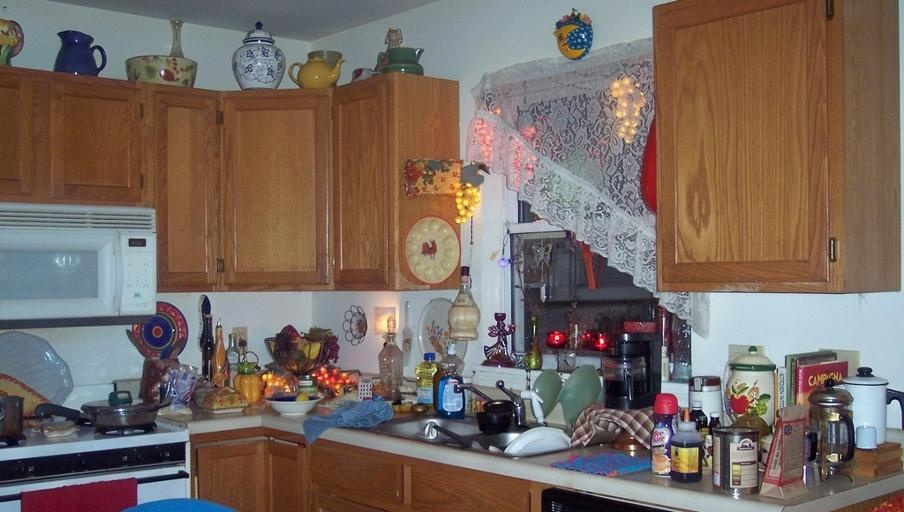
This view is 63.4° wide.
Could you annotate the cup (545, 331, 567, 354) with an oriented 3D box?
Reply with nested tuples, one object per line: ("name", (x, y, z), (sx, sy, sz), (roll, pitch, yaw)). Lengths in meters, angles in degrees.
("cup", (0.606, 0.513, 4.311), (0.119, 0.087, 0.116), (1, -5, 0))

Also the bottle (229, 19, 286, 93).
("bottle", (-1.300, -1.327, 4.921), (0.362, 0.429, 0.370), (9, 11, 43))

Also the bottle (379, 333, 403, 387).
("bottle", (-0.405, 0.679, 4.735), (0.131, 0.350, 0.202), (-1, -2, 5))

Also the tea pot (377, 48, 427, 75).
("tea pot", (-0.310, -1.217, 4.681), (0.250, 0.158, 0.243), (0, -6, 0))

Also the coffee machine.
("coffee machine", (0.905, 0.653, 3.726), (0.221, 0.537, 0.315), (1, 3, 40))

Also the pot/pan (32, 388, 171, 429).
("pot/pan", (-2.020, 0.906, 4.210), (0.515, 0.144, 0.323), (2, -5, -21))

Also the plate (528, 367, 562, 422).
("plate", (0.454, 0.778, 3.996), (0.078, 0.233, 0.305), (2, -26, 26))

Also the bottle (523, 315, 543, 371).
("bottle", (0.487, 0.516, 4.414), (0.111, 0.317, 0.372), (-1, -3, 6))

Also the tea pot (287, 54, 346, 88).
("tea pot", (-0.913, -1.191, 4.893), (0.336, 0.205, 0.231), (6, 5, 6))

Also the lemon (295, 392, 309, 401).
("lemon", (-0.917, 0.863, 4.484), (0.047, 0.053, 0.046), (1, -4, -19))

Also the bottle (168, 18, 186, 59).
("bottle", (-1.824, -1.423, 4.832), (0.072, 0.304, 0.179), (0, -3, -20))

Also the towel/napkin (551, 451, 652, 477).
("towel/napkin", (0.701, 0.973, 3.454), (0.451, 0.042, 0.324), (-1, -3, 8))

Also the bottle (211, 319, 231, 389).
("bottle", (-1.538, 0.654, 4.847), (0.106, 0.392, 0.302), (0, -3, -17))

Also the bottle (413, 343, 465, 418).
("bottle", (-0.070, 0.758, 4.384), (0.193, 0.494, 0.355), (7, -11, -44))

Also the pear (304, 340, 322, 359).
("pear", (-0.876, 0.599, 4.667), (0.089, 0.104, 0.056), (2, -13, -27))

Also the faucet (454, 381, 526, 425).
("faucet", (0.286, 0.793, 3.952), (0.074, 0.207, 0.336), (-18, -25, 23))

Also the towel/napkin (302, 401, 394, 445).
("towel/napkin", (-0.590, 0.917, 4.164), (0.380, 0.147, 0.269), (-5, 7, -44))

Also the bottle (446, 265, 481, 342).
("bottle", (0.081, 0.290, 4.535), (0.192, 0.457, 0.184), (-1, -2, 0))

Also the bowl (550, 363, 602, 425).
("bowl", (0.671, 0.747, 3.842), (0.242, 0.333, 0.240), (-1, -2, 0))

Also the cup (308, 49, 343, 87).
("cup", (-0.881, -1.233, 4.918), (0.273, 0.216, 0.230), (1, 6, -27))

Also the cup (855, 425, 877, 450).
("cup", (1.853, 0.816, 3.286), (0.103, 0.104, 0.100), (0, 0, 0))

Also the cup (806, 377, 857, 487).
("cup", (1.657, 0.769, 3.248), (0.231, 0.435, 0.096), (-1, -2, -9))

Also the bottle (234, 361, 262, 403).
("bottle", (-1.332, 0.825, 4.763), (0.204, 0.270, 0.191), (-2, 10, 0))
